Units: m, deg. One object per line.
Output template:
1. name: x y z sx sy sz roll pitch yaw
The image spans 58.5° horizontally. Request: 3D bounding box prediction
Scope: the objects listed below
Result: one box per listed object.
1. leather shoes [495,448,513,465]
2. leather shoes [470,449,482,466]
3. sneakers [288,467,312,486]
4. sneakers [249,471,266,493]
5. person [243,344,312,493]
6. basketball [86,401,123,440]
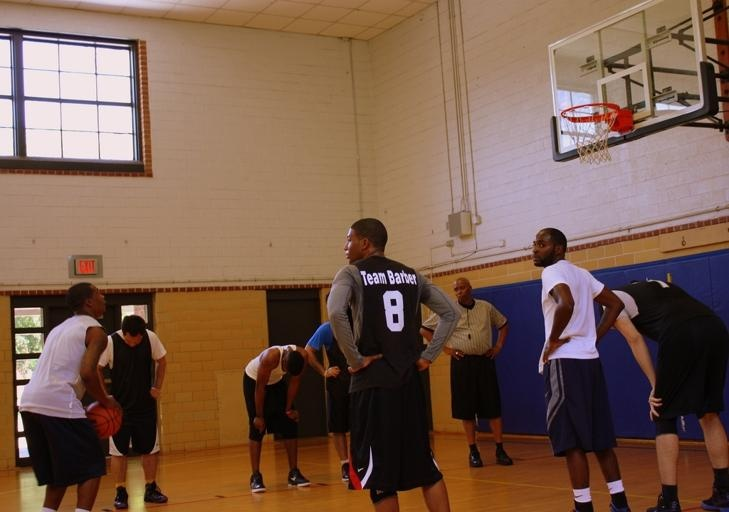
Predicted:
1. leather shoes: 1.736 2.503 8.134 0.193 0.186 0.246 -3 -2 11
2. leather shoes: 1.374 2.519 8.102 0.157 0.184 0.238 -3 -2 9
3. sneakers: -0.789 2.611 7.680 0.128 0.180 0.353 8 -13 -42
4. sneakers: -1.239 2.603 7.506 0.180 0.174 0.302 -2 -2 -11
5. person: -1.004 1.880 7.430 0.708 1.232 1.028 -2 -2 -11
6. basketball: -2.153 1.383 5.543 0.274 0.354 0.284 3 0 10
